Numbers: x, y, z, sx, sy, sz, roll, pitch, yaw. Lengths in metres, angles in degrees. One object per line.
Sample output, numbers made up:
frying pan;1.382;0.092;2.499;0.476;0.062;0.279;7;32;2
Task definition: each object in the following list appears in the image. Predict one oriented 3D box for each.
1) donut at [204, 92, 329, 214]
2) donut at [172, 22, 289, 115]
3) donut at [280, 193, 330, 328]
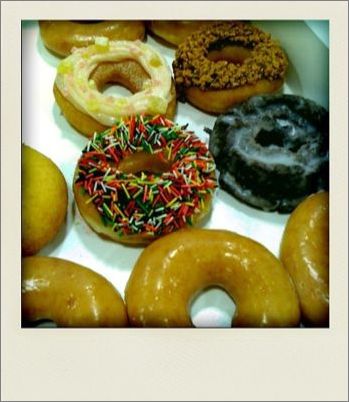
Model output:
donut;0.340;-0.167;1.594;0.364;0.152;0.435;12;71;9
donut;0.201;-0.544;1.718;0.344;0.400;0.160;-2;89;19
donut;0.425;0.206;1.417;0.254;0.102;0.343;9;69;1
